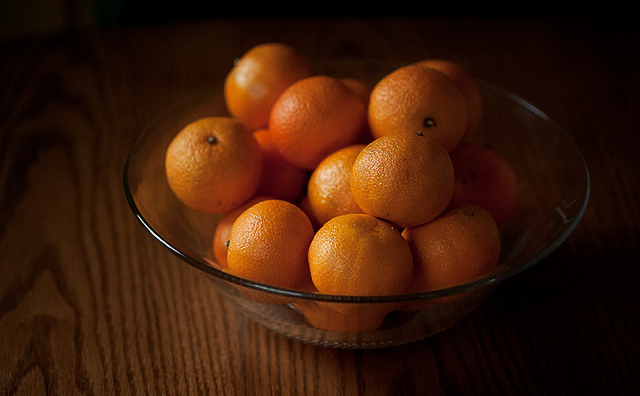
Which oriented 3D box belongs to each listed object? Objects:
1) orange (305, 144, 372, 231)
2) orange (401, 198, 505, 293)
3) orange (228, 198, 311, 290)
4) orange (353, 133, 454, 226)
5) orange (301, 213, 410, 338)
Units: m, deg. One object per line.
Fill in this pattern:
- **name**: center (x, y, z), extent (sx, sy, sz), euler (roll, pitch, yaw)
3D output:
- **orange**: center (0.037, -0.020, 1.192), extent (0.130, 0.143, 0.164), euler (-9, 25, 21)
- **orange**: center (0.233, 0.087, 1.157), extent (0.181, 0.167, 0.163), euler (-9, 36, -15)
- **orange**: center (-0.095, 0.072, 1.094), extent (0.133, 0.184, 0.146), euler (-8, 14, -11)
- **orange**: center (0.168, -0.035, 1.132), extent (0.152, 0.152, 0.161), euler (10, 72, 25)
- **orange**: center (0.069, 0.139, 1.078), extent (0.189, 0.179, 0.184), euler (9, 54, -4)
